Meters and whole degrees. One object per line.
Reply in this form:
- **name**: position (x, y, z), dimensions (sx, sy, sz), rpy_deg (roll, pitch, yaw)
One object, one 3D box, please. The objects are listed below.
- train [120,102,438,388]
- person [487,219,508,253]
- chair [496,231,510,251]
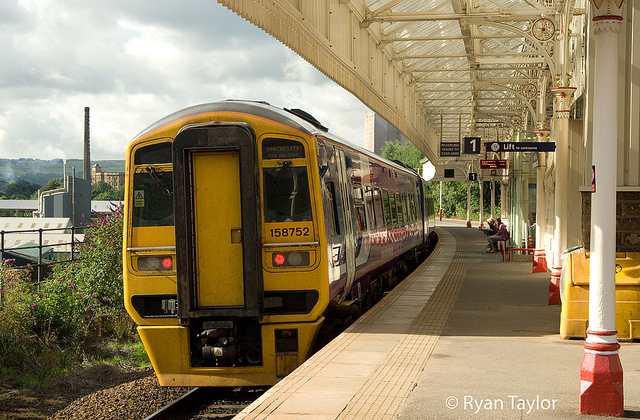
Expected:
- **train**: position (-0.172, 0.539, 12.195), dimensions (2.858, 5.201, 7.194), rpy_deg (-1, 5, 28)
- **person**: position (9.018, 1.447, 29.523), dimensions (0.644, 1.475, 1.974), rpy_deg (-3, 5, 2)
- **chair**: position (9.143, 1.622, 29.631), dimensions (0.789, 1.065, 1.519), rpy_deg (-1, 1, 19)
